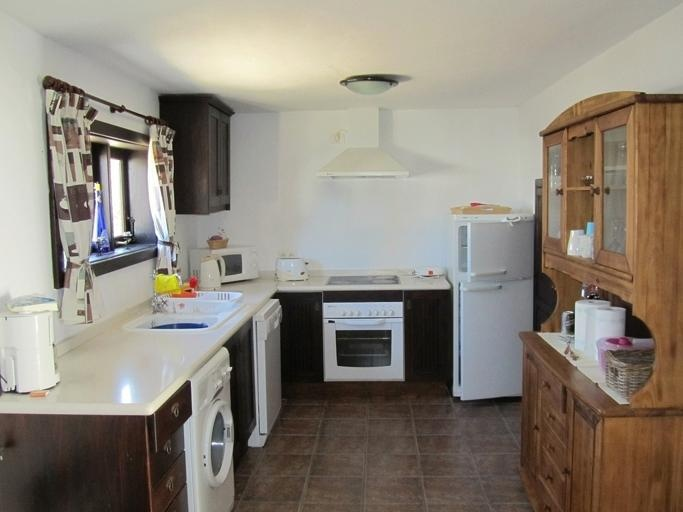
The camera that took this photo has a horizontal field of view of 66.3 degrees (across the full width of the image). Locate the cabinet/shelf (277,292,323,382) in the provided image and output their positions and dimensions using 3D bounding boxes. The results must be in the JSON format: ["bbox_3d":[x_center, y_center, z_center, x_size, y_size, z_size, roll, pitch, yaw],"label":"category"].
[{"bbox_3d":[-0.381,0.758,4.857,0.411,0.844,0.149,-2,11,-7],"label":"cabinet/shelf"}]

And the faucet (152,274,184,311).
[{"bbox_3d":[-1.300,0.278,3.864,0.227,0.344,0.233,0,-4,-20],"label":"faucet"}]

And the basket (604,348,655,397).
[{"bbox_3d":[1.349,0.534,2.449,0.174,0.102,0.247,-3,3,-4],"label":"basket"}]

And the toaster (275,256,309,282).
[{"bbox_3d":[-0.475,0.135,5.032,0.241,0.184,0.238,0,-1,-2],"label":"toaster"}]

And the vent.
[{"bbox_3d":[0.236,-1.073,5.117,0.850,0.649,0.880,1,10,7],"label":"vent"}]

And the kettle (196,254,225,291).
[{"bbox_3d":[-1.141,0.154,4.611,0.191,0.313,0.301,-1,-4,17],"label":"kettle"}]

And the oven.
[{"bbox_3d":[0.236,0.797,5.021,0.719,0.770,0.513,-1,-1,10],"label":"oven"}]

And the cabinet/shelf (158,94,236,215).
[{"bbox_3d":[-1.250,-0.871,4.420,0.341,0.886,0.914,-1,8,-2],"label":"cabinet/shelf"}]
